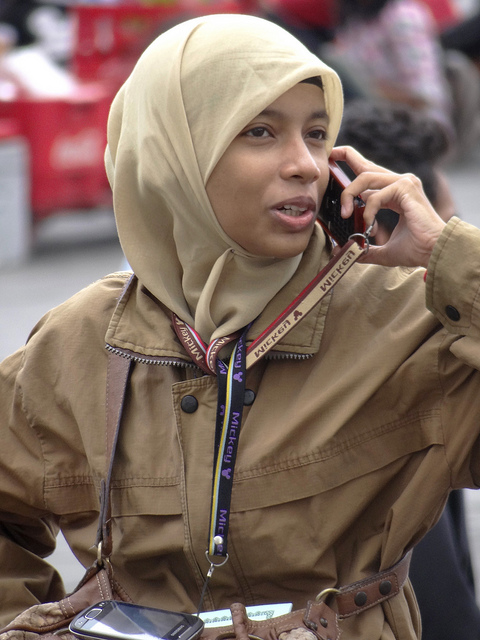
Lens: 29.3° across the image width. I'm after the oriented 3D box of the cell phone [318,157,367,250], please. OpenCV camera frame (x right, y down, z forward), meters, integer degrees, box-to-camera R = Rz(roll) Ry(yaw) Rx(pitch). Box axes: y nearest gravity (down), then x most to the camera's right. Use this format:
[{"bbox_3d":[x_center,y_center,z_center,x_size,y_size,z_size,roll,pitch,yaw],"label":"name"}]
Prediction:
[{"bbox_3d":[0.258,-0.291,2.346,0.049,0.261,0.152,-16,60,-13],"label":"cell phone"}]
